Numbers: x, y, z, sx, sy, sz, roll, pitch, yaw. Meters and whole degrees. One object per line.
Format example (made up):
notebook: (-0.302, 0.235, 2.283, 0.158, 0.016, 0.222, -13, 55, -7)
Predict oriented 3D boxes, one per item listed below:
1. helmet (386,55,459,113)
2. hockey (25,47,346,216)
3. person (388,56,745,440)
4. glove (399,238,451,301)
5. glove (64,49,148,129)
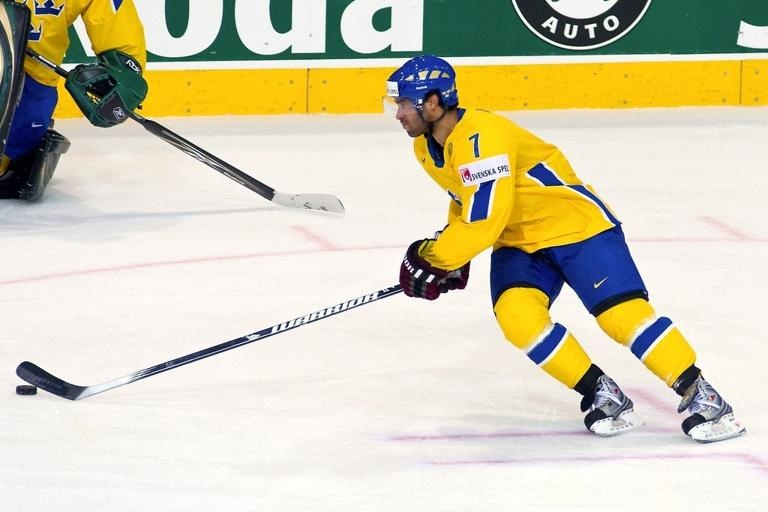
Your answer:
helmet: (0.150, -0.644, 3.131, 0.266, 0.203, 0.189, 3, 9, 9)
hockey: (-1.410, -0.876, 5.926, 2.882, 0.421, 0.110, 25, 54, 9)
person: (0.609, -0.050, 3.009, 1.353, 1.202, 0.433, 14, 21, 28)
glove: (0.164, 0.031, 3.170, 0.203, 0.191, 0.223, -1, 43, 9)
glove: (-1.639, -1.000, 5.034, 0.443, 0.445, 0.230, -1, 20, -15)
